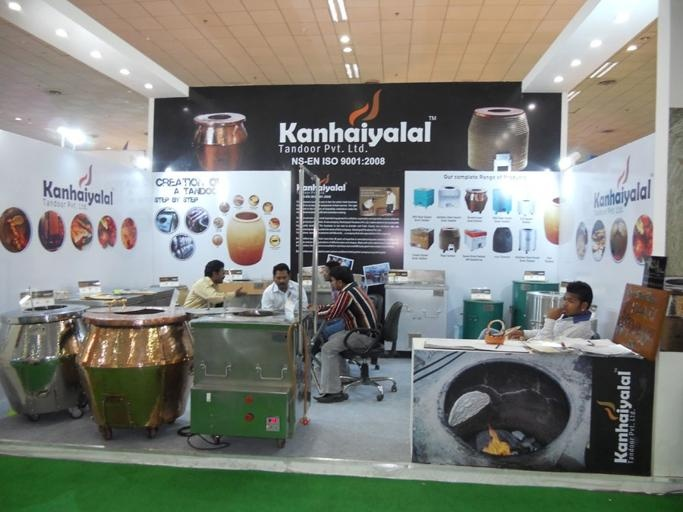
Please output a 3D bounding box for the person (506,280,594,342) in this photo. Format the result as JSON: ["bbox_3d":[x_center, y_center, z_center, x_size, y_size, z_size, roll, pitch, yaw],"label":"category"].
[{"bbox_3d":[1.904,0.492,4.693,0.727,0.776,0.484,9,2,15],"label":"person"}]

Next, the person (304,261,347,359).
[{"bbox_3d":[-0.224,0.752,6.248,0.694,1.294,0.440,4,6,-7],"label":"person"}]

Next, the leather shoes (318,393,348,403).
[{"bbox_3d":[-0.100,1.532,5.429,0.329,0.147,0.114,5,-5,-9],"label":"leather shoes"}]

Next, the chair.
[{"bbox_3d":[0.381,1.080,5.697,0.876,1.392,0.998,1,-5,2],"label":"chair"}]

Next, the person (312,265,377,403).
[{"bbox_3d":[0.045,0.842,5.546,0.673,1.414,0.528,0,5,-6],"label":"person"}]

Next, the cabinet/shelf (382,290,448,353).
[{"bbox_3d":[1.080,0.869,7.287,0.890,0.909,0.696,0,1,3],"label":"cabinet/shelf"}]

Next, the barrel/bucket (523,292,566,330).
[{"bbox_3d":[2.682,0.756,6.672,0.414,0.487,0.434,3,-2,0],"label":"barrel/bucket"}]

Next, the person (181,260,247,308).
[{"bbox_3d":[-1.662,0.292,6.603,0.792,1.009,0.436,-1,15,-25],"label":"person"}]

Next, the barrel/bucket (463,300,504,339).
[{"bbox_3d":[1.999,0.912,7.122,0.474,0.555,0.490,3,-1,0],"label":"barrel/bucket"}]
